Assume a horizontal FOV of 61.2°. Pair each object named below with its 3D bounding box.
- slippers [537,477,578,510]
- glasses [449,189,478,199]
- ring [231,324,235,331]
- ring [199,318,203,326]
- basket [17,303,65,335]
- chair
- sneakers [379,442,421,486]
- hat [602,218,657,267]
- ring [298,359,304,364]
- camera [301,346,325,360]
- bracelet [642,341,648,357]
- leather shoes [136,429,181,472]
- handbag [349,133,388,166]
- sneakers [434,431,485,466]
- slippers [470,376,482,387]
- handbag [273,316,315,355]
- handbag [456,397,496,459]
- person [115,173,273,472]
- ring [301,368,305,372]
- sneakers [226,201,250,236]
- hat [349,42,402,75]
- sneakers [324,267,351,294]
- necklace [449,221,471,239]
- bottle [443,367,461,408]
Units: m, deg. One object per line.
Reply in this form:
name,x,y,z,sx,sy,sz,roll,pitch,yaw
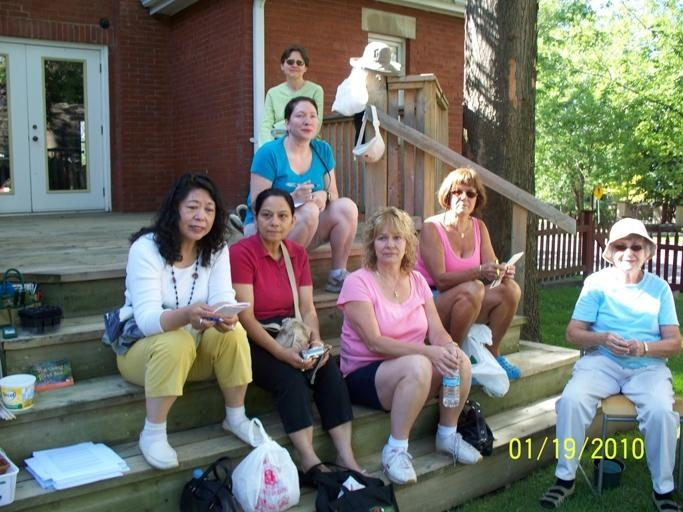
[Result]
slippers,1.405,1.566,3.782,0.111,0.091,0.285,-4,2,40
glasses,0.939,-0.472,4.442,0.189,0.072,0.069,0,5,6
ring,-0.622,0.412,3.297,0.024,0.027,0.025,3,-2,0
ring,-0.760,0.355,3.126,0.022,0.025,0.006,5,-1,19
basket,-1.888,0.387,3.604,0.177,0.124,0.189,3,5,38
chair,2.012,1.173,4.086,0.701,0.733,0.606,-1,-3,20
sneakers,0.362,1.275,3.539,0.151,0.136,0.261,-3,9,-24
hat,2.026,-0.132,4.154,0.260,0.209,0.364,-3,-26,10
ring,-0.247,0.644,3.504,0.024,0.021,0.035,6,2,2
camera,-0.171,0.588,3.524,0.111,0.073,0.043,-12,-34,-22
bracelet,2.043,0.630,3.899,0.026,0.079,0.078,2,24,5
leather shoes,-0.989,1.069,3.167,0.118,0.118,0.268,2,11,-38
handbag,0.245,-0.929,5.128,0.204,0.154,0.280,-11,23,34
sneakers,0.778,1.263,3.845,0.290,0.136,0.164,23,36,19
slippers,1.009,0.955,4.339,0.089,0.065,0.125,2,3,32
handbag,-0.296,0.490,3.612,0.225,0.182,0.197,-1,5,-9
handbag,0.903,1.155,3.950,0.141,0.247,0.371,-5,37,-27
person,-0.911,0.339,3.332,0.807,1.621,0.722,-3,5,-24
ring,-0.236,0.703,3.552,0.021,0.006,0.023,12,-30,7
sneakers,-0.863,-0.298,4.716,0.264,0.230,0.196,4,12,29
hat,0.330,-1.783,5.260,0.337,0.158,0.314,5,30,-37
sneakers,-0.036,0.205,4.672,0.206,0.150,0.113,-5,14,-10
necklace,0.944,-0.187,4.520,0.126,0.140,0.054,-6,-1,-13
bottle,0.718,0.870,3.749,0.115,0.270,0.117,0,5,0
